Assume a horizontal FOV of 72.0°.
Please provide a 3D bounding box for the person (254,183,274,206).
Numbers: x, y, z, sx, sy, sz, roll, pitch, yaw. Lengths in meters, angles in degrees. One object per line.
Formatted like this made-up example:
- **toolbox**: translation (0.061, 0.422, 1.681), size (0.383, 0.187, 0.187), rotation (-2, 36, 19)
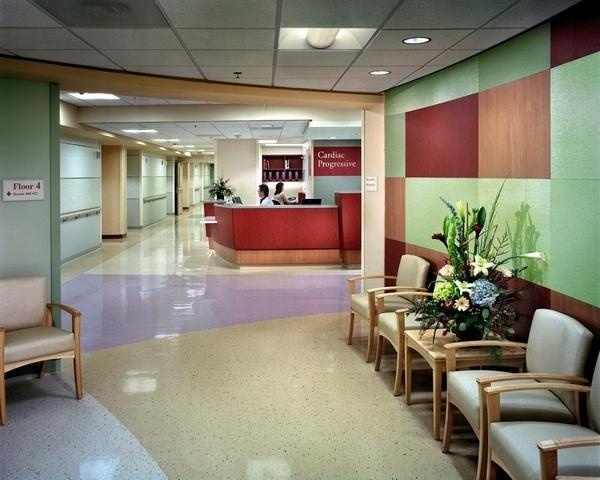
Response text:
- **person**: translation (-0.918, -1.179, 10.825), size (0.297, 0.519, 0.887), rotation (-1, 8, -7)

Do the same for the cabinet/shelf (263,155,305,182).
- **cabinet/shelf**: translation (-0.730, -3.161, 18.438), size (1.382, 0.839, 0.407), rotation (0, -3, -3)

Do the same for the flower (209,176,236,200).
- **flower**: translation (-2.348, -1.503, 12.976), size (0.880, 1.012, 1.002), rotation (-3, 10, -20)

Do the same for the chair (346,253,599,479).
- **chair**: translation (1.394, 1.022, 3.409), size (0.818, 1.111, 1.717), rotation (-2, 8, -13)

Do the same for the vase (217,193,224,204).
- **vase**: translation (-2.337, -1.216, 12.154), size (0.212, 0.272, 0.918), rotation (-2, 7, -11)

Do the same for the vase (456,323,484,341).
- **vase**: translation (1.418, 0.742, 3.449), size (0.183, 0.123, 0.186), rotation (-1, 0, 36)
